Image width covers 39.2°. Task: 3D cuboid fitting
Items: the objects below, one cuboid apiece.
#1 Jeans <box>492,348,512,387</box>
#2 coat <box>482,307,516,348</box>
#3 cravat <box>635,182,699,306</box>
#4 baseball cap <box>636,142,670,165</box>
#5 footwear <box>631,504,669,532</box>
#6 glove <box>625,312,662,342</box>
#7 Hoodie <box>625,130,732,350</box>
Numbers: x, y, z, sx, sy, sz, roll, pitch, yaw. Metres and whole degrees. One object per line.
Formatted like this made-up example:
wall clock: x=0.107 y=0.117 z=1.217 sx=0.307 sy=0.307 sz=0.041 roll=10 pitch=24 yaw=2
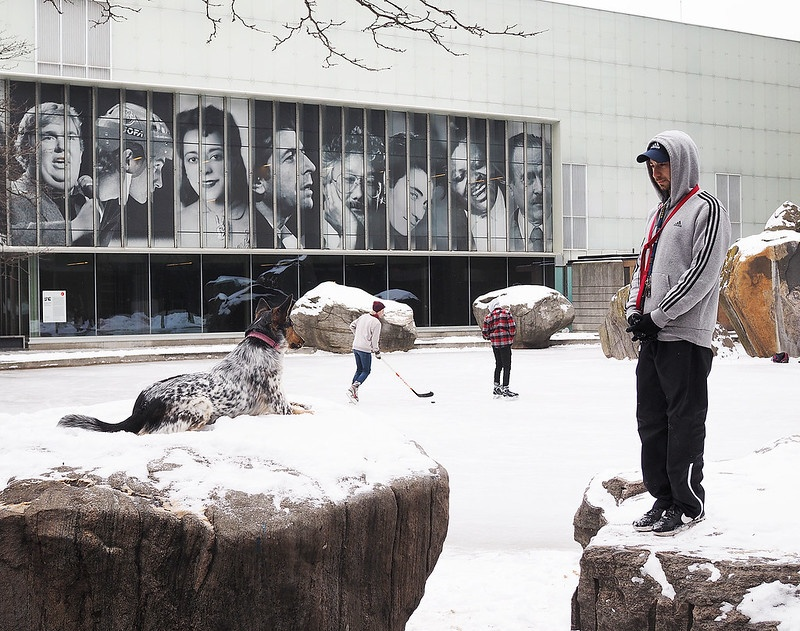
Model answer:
Jeans: x=2.038 y=0.998 z=22.362 sx=0.310 sy=0.820 sz=0.693 roll=-2 pitch=2 yaw=4
coat: x=1.979 y=0.190 z=22.466 sx=0.627 sy=0.874 sz=0.394 roll=-3 pitch=17 yaw=15
cravat: x=3.100 y=-0.714 z=13.472 sx=0.493 sy=1.854 sz=0.235 roll=16 pitch=-3 yaw=4
baseball cap: x=3.074 y=-1.950 z=13.536 sx=0.356 sy=0.231 sz=0.218 roll=-2 pitch=1 yaw=-44
footwear: x=3.003 y=2.403 z=13.417 sx=0.500 sy=0.267 sz=0.191 roll=-20 pitch=25 yaw=-27
glove: x=2.934 y=0.139 z=13.431 sx=0.403 sy=0.346 sz=0.312 roll=-2 pitch=2 yaw=13
Hoodie: x=3.361 y=-0.888 z=13.756 sx=0.972 sy=2.650 sz=1.269 roll=5 pitch=-6 yaw=-22
